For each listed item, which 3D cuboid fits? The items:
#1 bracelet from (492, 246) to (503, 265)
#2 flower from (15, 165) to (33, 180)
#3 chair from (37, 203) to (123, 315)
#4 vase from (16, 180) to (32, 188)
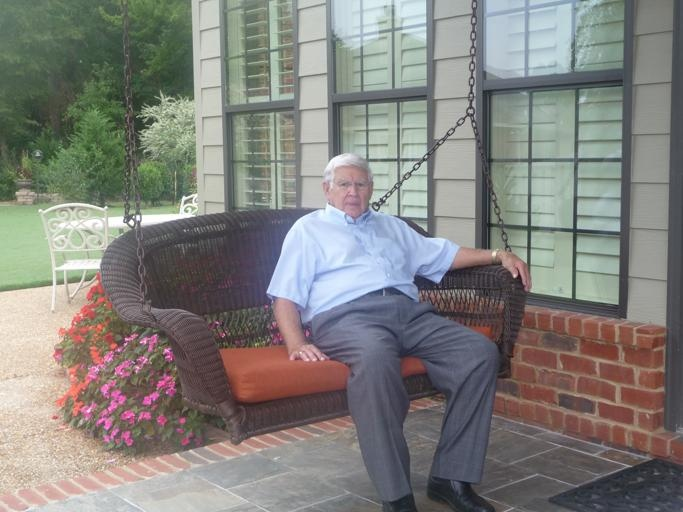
[{"bbox_3d":[0.766,-0.004,3.110,0.051,0.075,0.066,18,55,30],"label":"bracelet"},{"bbox_3d":[-12.867,-3.440,24.853,0.565,0.235,0.724,-3,30,-29],"label":"flower"},{"bbox_3d":[-3.373,-0.199,7.821,0.957,1.486,1.023,-11,33,-29],"label":"chair"},{"bbox_3d":[-12.534,-2.915,24.125,0.396,0.291,0.405,0,-3,-2],"label":"vase"}]
